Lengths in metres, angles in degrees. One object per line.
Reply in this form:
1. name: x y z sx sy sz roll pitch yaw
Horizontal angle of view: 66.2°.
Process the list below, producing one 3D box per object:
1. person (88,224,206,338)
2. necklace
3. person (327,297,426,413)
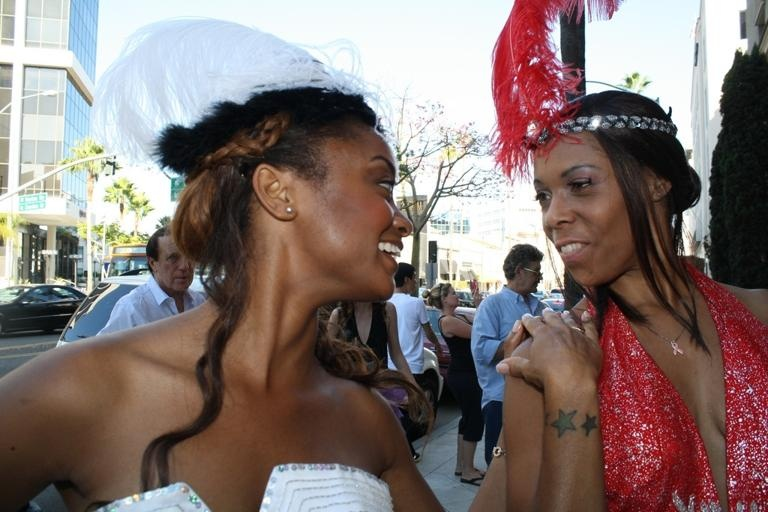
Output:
1. person: -1.958 0.268 5.387 0.534 0.962 1.195 -5 -6 28
2. necklace: 1.214 0.282 2.584 0.267 0.299 0.165 -12 -15 11
3. person: -0.076 0.827 5.158 0.686 0.779 1.240 -1 -3 2
